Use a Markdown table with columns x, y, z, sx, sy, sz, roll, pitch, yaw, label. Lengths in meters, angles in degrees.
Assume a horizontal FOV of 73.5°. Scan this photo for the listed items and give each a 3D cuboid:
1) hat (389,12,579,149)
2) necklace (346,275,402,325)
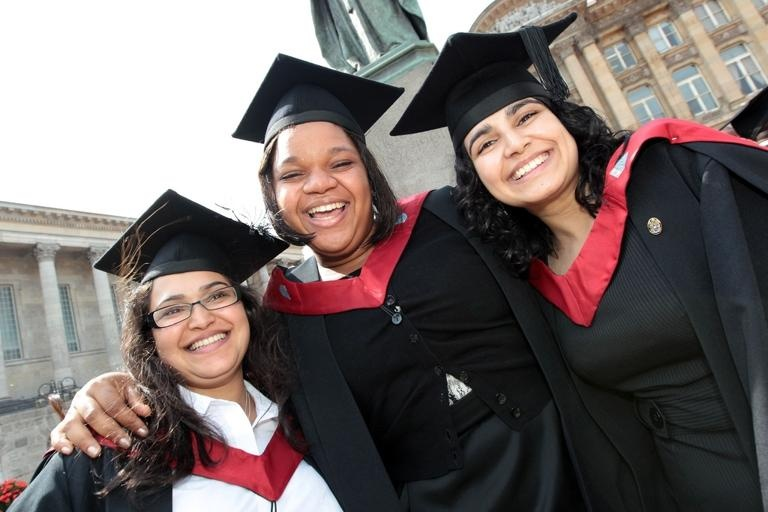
| x | y | z | sx | sy | sz | roll | pitch | yaw | label |
| --- | --- | --- | --- | --- | --- | --- | --- | --- | --- |
| 0.649 | -1.117 | 3.360 | 0.934 | 0.478 | 1.197 | -16 | -8 | -2 | hat |
| -0.057 | 0.275 | 3.111 | 0.082 | 0.302 | 0.107 | -33 | -11 | -50 | necklace |
